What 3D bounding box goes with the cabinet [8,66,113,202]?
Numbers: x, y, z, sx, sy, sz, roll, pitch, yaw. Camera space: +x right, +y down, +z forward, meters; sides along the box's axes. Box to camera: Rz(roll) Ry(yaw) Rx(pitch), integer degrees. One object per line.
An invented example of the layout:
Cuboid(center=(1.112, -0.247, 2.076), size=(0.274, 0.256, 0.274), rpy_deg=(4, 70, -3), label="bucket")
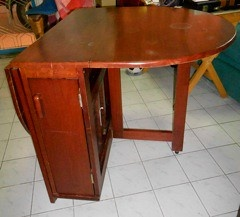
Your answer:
Cuboid(center=(-0.310, 0.152, 1.421), size=(0.401, 0.987, 0.411), rpy_deg=(4, 37, 7), label="cabinet")
